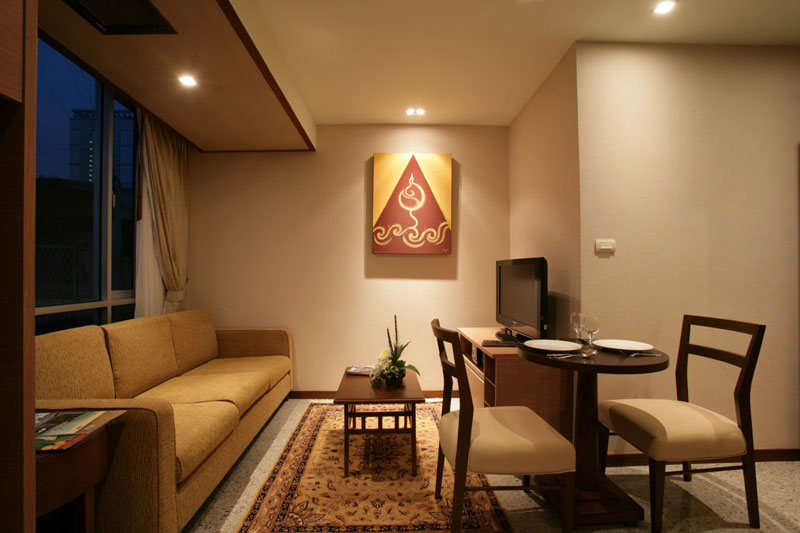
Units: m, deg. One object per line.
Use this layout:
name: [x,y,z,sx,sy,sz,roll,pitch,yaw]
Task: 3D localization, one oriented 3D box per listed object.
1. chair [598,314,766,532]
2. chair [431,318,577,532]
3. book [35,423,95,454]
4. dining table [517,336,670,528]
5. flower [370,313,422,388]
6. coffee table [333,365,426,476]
chair: [2.075,1.080,3.965,1.010,1.384,0.796,-4,15,-15]
chair: [0.894,1.135,4.591,1.234,1.947,1.335,-1,-2,-1]
book: [-1.957,1.010,3.217,0.249,0.063,0.259,1,0,-6]
dining table: [1.557,1.153,4.306,1.137,1.320,1.203,0,2,-3]
flower: [-0.084,0.781,5.017,0.495,0.866,0.520,1,-7,-3]
coffee table: [-0.108,1.459,4.881,0.712,0.616,1.119,-1,-13,1]
